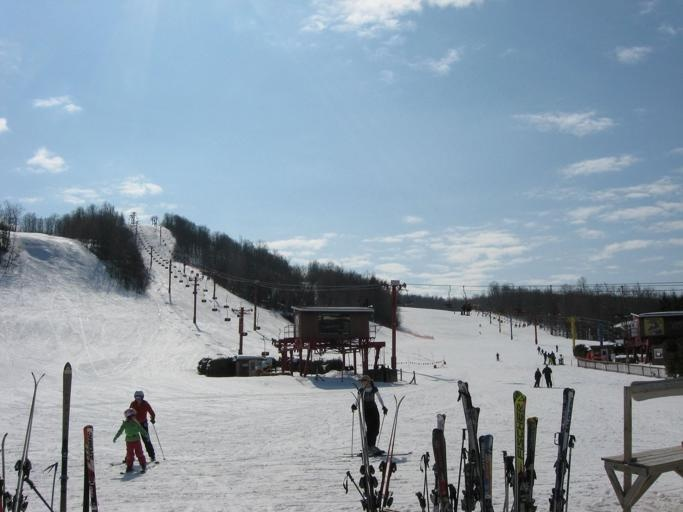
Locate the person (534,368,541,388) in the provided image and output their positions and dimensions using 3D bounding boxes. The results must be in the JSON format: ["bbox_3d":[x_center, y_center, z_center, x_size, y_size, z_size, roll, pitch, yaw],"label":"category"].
[{"bbox_3d":[13.059,8.248,52.588,0.385,1.244,2.686,0,-8,13],"label":"person"}]

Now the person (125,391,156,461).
[{"bbox_3d":[-8.680,7.479,33.818,1.227,3.472,0.960,-7,14,-16],"label":"person"}]
